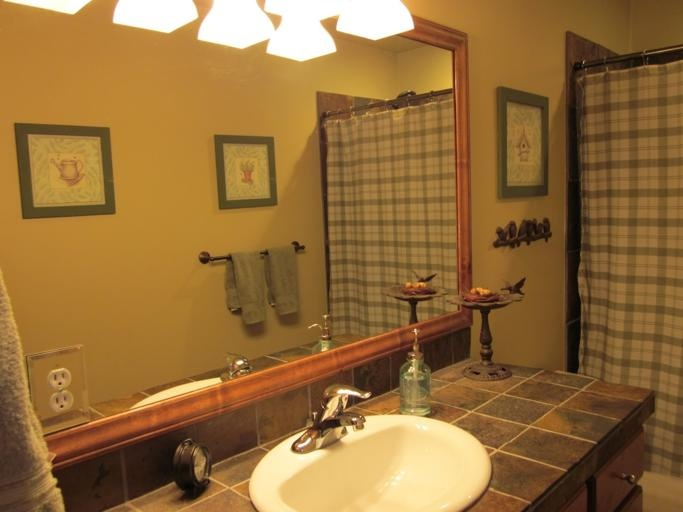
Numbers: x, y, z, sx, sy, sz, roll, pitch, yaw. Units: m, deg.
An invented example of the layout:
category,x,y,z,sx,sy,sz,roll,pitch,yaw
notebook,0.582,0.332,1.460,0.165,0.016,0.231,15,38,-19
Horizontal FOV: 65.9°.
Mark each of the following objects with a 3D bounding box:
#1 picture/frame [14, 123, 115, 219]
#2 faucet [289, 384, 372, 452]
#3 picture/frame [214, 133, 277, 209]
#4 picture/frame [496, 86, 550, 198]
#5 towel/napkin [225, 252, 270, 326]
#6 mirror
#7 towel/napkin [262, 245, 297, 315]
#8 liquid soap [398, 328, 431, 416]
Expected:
category,x,y,z,sx,sy,sz,roll,pitch,yaw
picture/frame,-0.662,-0.199,1.238,0.210,0.233,0.017,-5,6,-37
faucet,-0.033,0.436,1.454,0.197,0.127,0.143,-8,-5,39
picture/frame,-0.281,-0.240,1.496,0.202,0.232,0.016,-5,2,-43
picture/frame,0.867,-0.518,2.495,0.024,0.473,0.449,4,11,45
towel/napkin,-0.278,0.095,1.515,0.178,0.256,0.075,-6,10,-43
mirror,-0.306,-0.048,1.459,0.036,0.991,1.393,-5,0,44
towel/napkin,-0.182,0.080,1.596,0.041,0.183,0.128,5,7,37
liquid soap,0.237,0.387,1.668,0.095,0.219,0.154,3,11,33
